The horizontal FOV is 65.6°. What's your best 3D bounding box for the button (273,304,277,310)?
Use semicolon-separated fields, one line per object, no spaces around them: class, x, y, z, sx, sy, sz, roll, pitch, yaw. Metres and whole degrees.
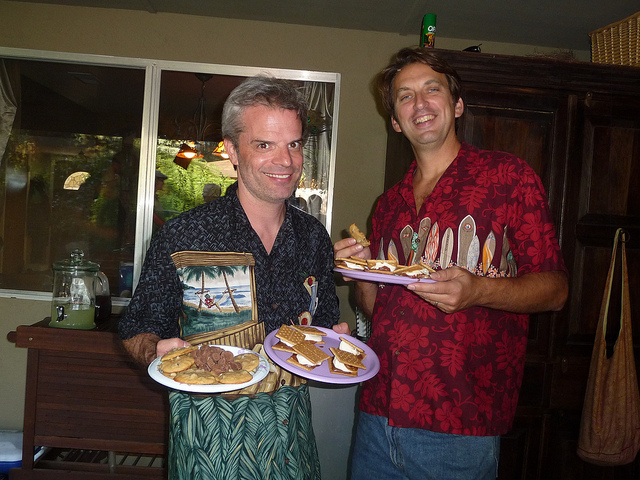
button;-0.196;0.293;2.190;0.017;0.016;0.004;1;13;12

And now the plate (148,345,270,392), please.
plate;-0.443;0.556;1.968;0.338;0.045;0.348;3;-1;-41

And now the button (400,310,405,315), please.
button;0.380;0.331;2.269;0.026;0.024;0.006;-2;3;18

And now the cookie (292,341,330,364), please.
cookie;-0.036;0.472;2.087;0.096;0.014;0.103;33;17;33

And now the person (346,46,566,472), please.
person;0.559;0.112;2.210;0.971;1.832;0.612;3;1;24

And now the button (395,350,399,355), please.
button;0.349;0.507;2.243;0.016;0.015;0.004;-9;-16;22

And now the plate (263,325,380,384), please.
plate;0.014;0.478;2.137;0.489;0.180;0.401;2;2;2

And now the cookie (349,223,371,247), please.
cookie;0.197;-0.026;2.436;0.115;0.056;0.091;43;-11;32

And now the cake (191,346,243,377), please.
cake;-0.410;0.478;1.960;0.130;0.036;0.124;11;17;-18

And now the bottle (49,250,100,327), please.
bottle;-1.685;0.334;3.445;0.301;0.506;0.324;3;1;0

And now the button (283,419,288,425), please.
button;-0.141;0.751;2.050;0.015;0.007;0.019;10;11;1

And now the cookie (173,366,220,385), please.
cookie;-0.464;0.515;1.885;0.164;0.044;0.072;2;2;-17

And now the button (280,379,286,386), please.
button;-0.153;0.602;2.101;0.022;0.020;0.005;-4;40;-7

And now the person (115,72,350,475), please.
person;-0.274;0.132;2.174;0.934;1.290;0.549;2;2;-37

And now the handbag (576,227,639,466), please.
handbag;1.789;0.644;3.016;0.297;1.547;0.204;2;1;-24

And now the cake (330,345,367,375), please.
cake;0.125;0.515;2.154;0.149;0.091;0.208;2;2;-5

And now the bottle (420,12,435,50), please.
bottle;0.663;-1.273;3.041;0.075;0.207;0.122;3;1;11
